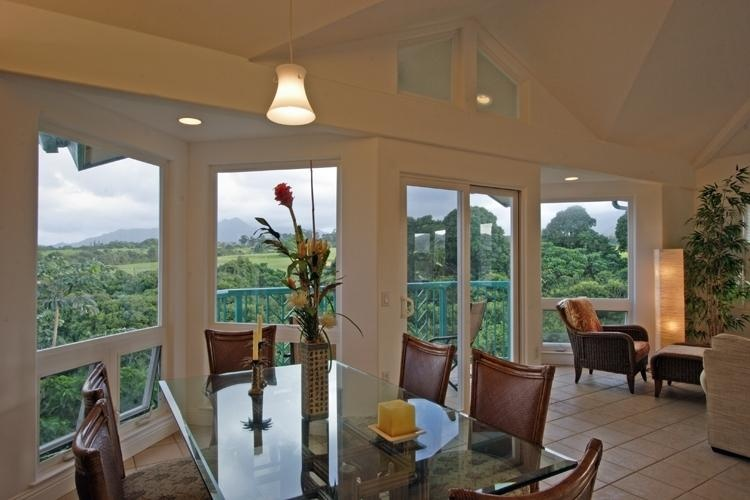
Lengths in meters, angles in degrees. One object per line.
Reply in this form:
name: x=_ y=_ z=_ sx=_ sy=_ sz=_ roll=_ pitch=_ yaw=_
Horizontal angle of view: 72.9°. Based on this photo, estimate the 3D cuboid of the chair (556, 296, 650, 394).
chair: x=2.581 y=1.022 z=5.789 sx=1.121 sy=1.085 sz=0.868 roll=-3 pitch=-4 yaw=33

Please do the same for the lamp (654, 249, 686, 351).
lamp: x=3.650 y=0.587 z=6.269 sx=0.297 sy=1.196 sz=0.360 roll=1 pitch=12 yaw=6

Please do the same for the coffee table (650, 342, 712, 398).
coffee table: x=3.267 y=1.179 z=5.533 sx=0.698 sy=0.581 sz=0.714 roll=-4 pitch=-7 yaw=27

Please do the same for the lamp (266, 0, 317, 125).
lamp: x=-0.488 y=-1.092 z=2.902 sx=0.274 sy=0.692 sz=0.495 roll=-2 pitch=12 yaw=-10
